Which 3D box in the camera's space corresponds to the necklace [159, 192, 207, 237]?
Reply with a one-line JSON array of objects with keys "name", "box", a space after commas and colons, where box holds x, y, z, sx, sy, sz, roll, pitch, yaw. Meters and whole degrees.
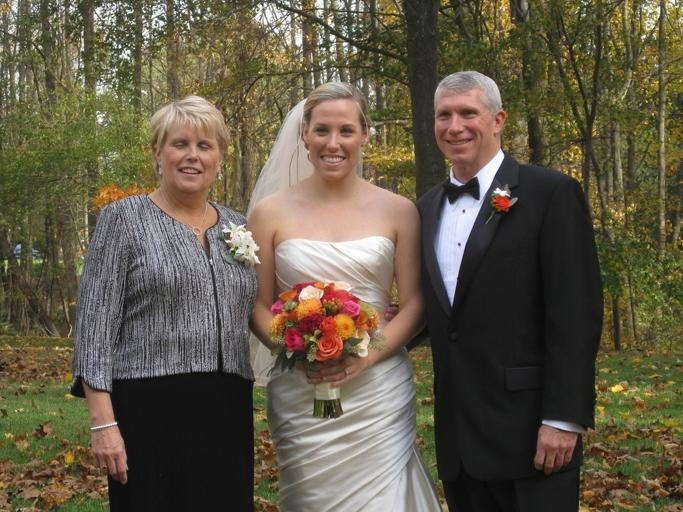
[{"name": "necklace", "box": [-1.347, -0.350, 6.652, 0.303, 0.348, 0.207, -12, -2, -35]}]

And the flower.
[{"name": "flower", "box": [-0.072, 0.852, 6.972, 1.040, 1.066, 0.978, 6, -6, -41]}]
